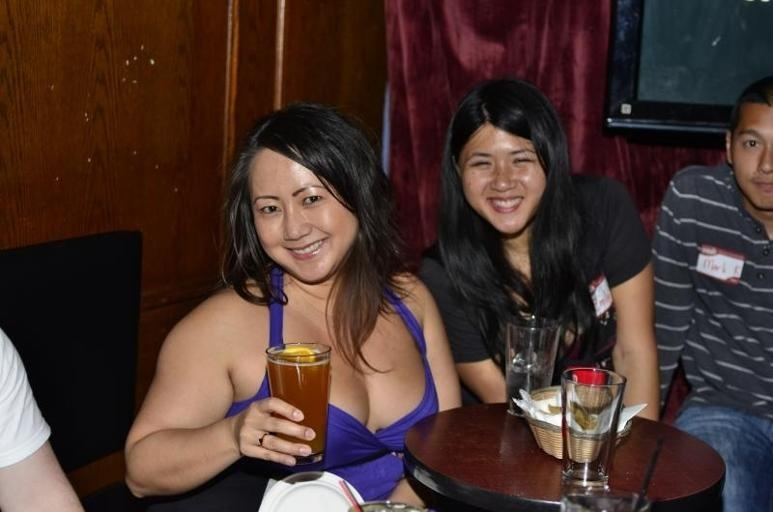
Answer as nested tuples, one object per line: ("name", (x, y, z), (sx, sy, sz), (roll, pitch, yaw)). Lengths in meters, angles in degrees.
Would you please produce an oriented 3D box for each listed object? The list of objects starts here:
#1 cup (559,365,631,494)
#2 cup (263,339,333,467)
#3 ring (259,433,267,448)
("cup", (0.501, 0.433, 1.418), (0.147, 0.291, 0.228), (8, 16, 33))
("cup", (-0.230, 0.398, 1.510), (0.165, 0.287, 0.146), (-2, 13, -7))
("ring", (-0.319, 0.468, 1.446), (0.012, 0.031, 0.027), (18, -16, -17))
